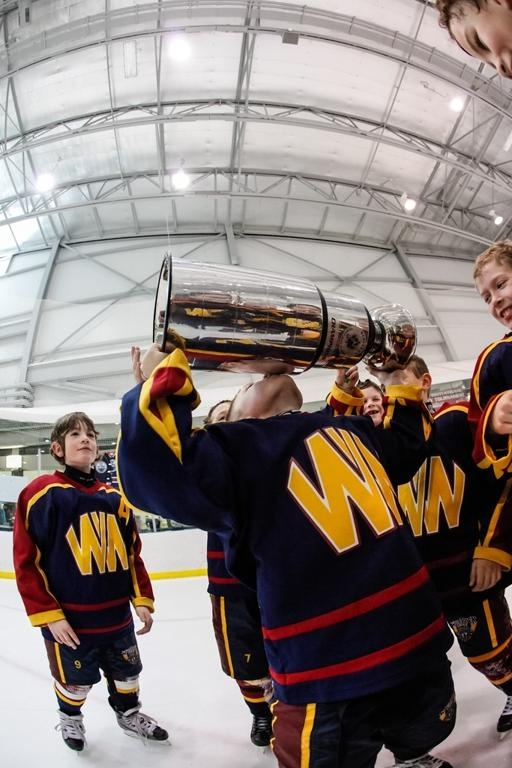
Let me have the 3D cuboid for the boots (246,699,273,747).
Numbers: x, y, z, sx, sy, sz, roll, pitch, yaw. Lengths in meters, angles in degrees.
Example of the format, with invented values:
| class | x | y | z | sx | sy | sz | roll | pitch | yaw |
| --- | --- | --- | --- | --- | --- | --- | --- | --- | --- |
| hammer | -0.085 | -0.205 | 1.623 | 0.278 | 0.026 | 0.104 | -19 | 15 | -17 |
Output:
| class | x | y | z | sx | sy | sz | roll | pitch | yaw |
| --- | --- | --- | --- | --- | --- | --- | --- | --- | --- |
| boots | 0.012 | 1.315 | 2.044 | 0.065 | 0.081 | 0.195 | -1 | -13 | 0 |

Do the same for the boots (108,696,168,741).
| class | x | y | z | sx | sy | sz | roll | pitch | yaw |
| --- | --- | --- | --- | --- | --- | --- | --- | --- | --- |
| boots | -0.470 | 1.380 | 2.205 | 0.264 | 0.124 | 0.097 | -13 | -2 | 41 |

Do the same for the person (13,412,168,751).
| class | x | y | z | sx | sy | sz | roll | pitch | yaw |
| --- | --- | --- | --- | --- | --- | --- | --- | --- | --- |
| person | -0.753 | 0.898 | 2.405 | 0.595 | 1.481 | 0.349 | -4 | 3 | -33 |
